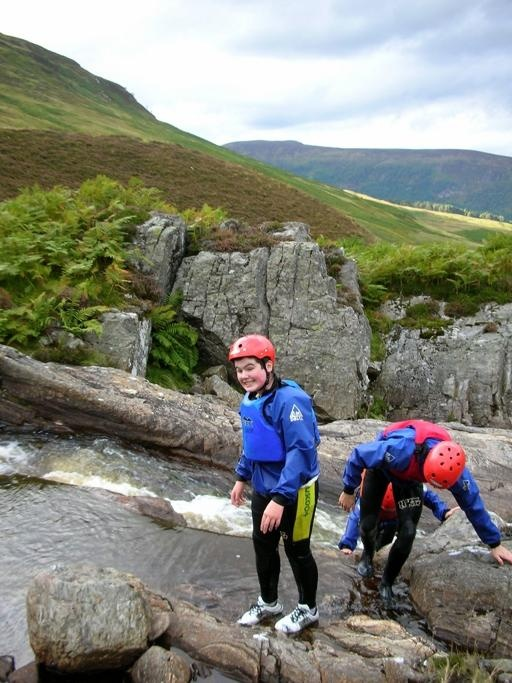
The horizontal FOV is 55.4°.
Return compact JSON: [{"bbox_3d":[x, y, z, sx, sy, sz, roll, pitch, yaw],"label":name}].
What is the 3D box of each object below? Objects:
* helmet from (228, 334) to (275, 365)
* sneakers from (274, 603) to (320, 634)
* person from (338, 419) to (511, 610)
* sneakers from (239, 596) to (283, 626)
[{"bbox_3d":[-0.032,0.058,3.601,0.271,0.182,0.210,-3,7,-36],"label":"helmet"},{"bbox_3d":[0.347,2.160,3.848,0.144,0.170,0.414,48,21,25],"label":"sneakers"},{"bbox_3d":[1.346,1.554,4.176,0.913,1.666,1.231,7,3,-44],"label":"person"},{"bbox_3d":[0.028,2.158,3.983,0.429,0.184,0.146,0,-2,-33],"label":"sneakers"}]
